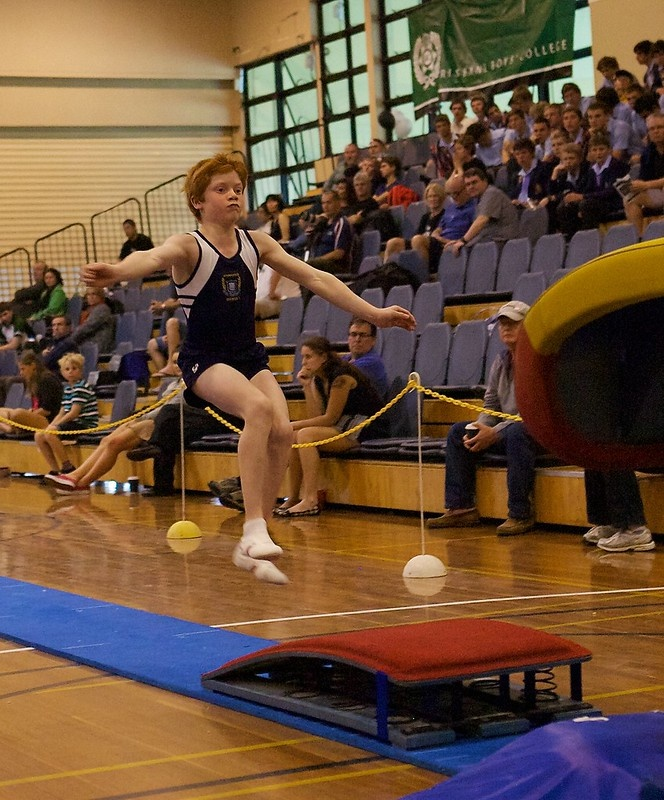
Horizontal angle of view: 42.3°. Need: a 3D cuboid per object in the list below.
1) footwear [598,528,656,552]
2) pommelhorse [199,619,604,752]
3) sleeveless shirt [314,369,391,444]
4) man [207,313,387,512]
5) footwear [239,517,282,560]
[{"bbox_3d":[1.558,0.752,4.577,0.316,0.113,0.120,-1,-6,15],"label":"footwear"},{"bbox_3d":[0.139,0.681,2.212,0.609,0.230,0.839,0,-2,-33],"label":"pommelhorse"},{"bbox_3d":[0.126,0.039,6.269,0.553,0.549,0.346,-14,8,15],"label":"sleeveless shirt"},{"bbox_3d":[-0.358,0.137,6.192,1.445,1.214,0.657,-11,12,-43],"label":"man"},{"bbox_3d":[-0.202,0.428,2.622,0.109,0.086,0.167,0,3,-21],"label":"footwear"}]
